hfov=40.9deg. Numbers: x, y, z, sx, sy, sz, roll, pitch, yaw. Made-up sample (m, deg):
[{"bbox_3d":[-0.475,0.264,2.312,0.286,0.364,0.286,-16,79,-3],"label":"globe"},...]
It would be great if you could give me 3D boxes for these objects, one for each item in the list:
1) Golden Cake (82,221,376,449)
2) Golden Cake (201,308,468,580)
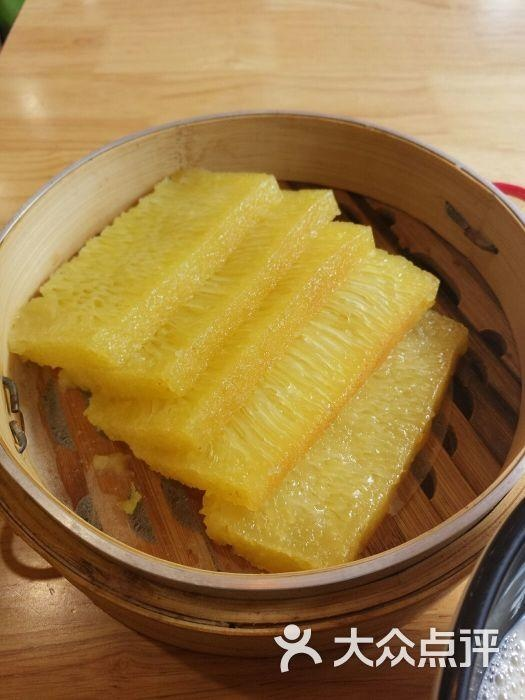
[{"bbox_3d":[0.014,-0.023,0.932,0.398,0.073,0.223,-42,37,-18],"label":"Golden Cake"},{"bbox_3d":[0.117,0.118,0.858,0.193,0.065,0.387,37,63,26],"label":"Golden Cake"}]
